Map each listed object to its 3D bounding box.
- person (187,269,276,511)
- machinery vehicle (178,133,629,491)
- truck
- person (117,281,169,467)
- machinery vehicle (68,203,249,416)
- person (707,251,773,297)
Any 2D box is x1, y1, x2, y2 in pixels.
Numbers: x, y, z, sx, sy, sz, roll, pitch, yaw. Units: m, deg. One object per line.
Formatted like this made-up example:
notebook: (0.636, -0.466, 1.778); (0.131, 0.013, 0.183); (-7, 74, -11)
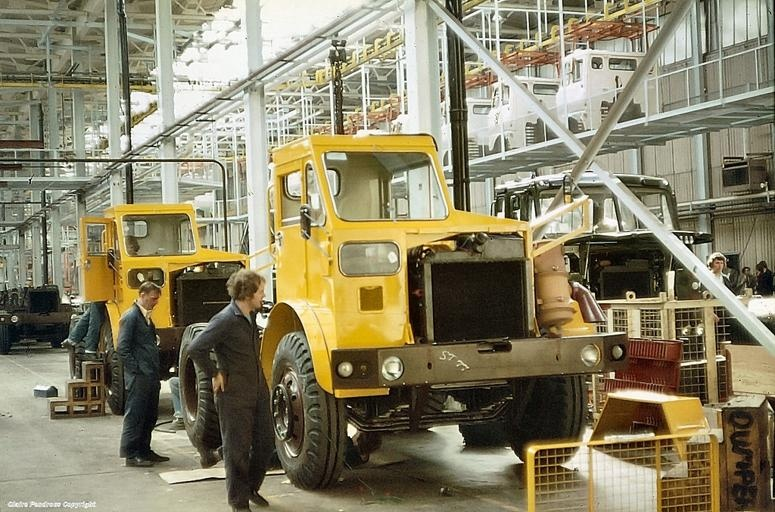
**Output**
person: (-2.161, 1.918, 14.057); (1.081, 3.410, 0.384); (1, -2, -35)
machinery vehicle: (-0.333, 0.886, 18.298); (4.962, 5.591, 8.989); (-1, -2, -24)
truck: (4.837, 0.388, 19.781); (3.100, 3.130, 5.049); (1, -5, -21)
person: (-4.051, 1.954, 16.313); (0.766, 2.987, 0.582); (1, -1, -15)
machinery vehicle: (-4.600, 0.502, 20.711); (3.015, 3.320, 4.367); (1, -7, -28)
person: (8.386, 0.462, 23.456); (2.695, 1.114, 0.719); (12, -11, -44)
